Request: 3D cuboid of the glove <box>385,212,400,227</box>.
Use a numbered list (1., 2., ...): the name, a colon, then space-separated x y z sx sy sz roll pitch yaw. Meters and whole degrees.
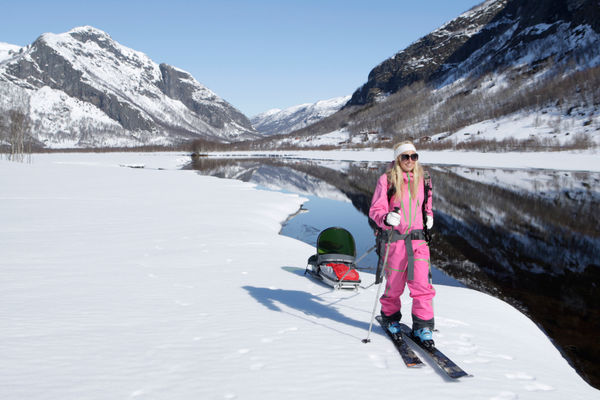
1. glove: 2.260 0.436 12.997 0.344 0.319 0.192 0 9 1
